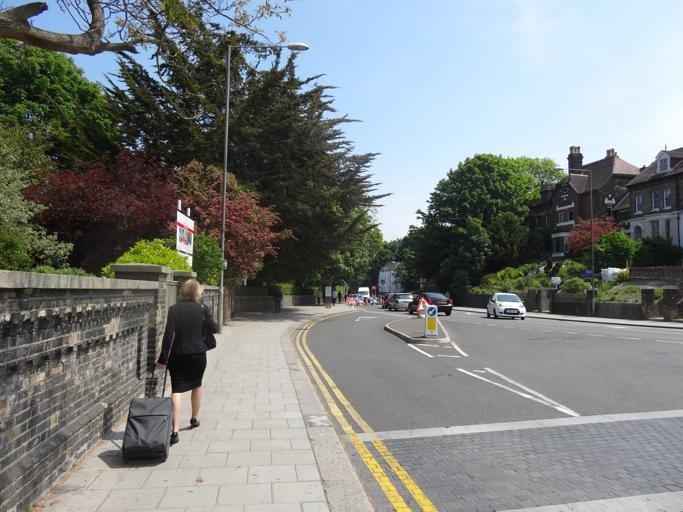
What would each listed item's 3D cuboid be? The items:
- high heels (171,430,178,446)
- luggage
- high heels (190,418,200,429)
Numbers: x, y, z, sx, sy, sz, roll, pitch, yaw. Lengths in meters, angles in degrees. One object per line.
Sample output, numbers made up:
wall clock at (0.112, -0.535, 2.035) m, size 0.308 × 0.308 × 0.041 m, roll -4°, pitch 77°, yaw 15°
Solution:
high heels at (-2.341, 2.502, 8.303) m, size 0.109 × 0.123 × 0.325 m, roll 2°, pitch -3°, yaw -11°
luggage at (-2.547, 1.956, 7.972) m, size 0.536 × 1.521 × 0.456 m, roll -2°, pitch -39°, yaw -7°
high heels at (-2.228, 2.486, 9.007) m, size 0.074 × 0.145 × 0.206 m, roll 1°, pitch 0°, yaw 14°
